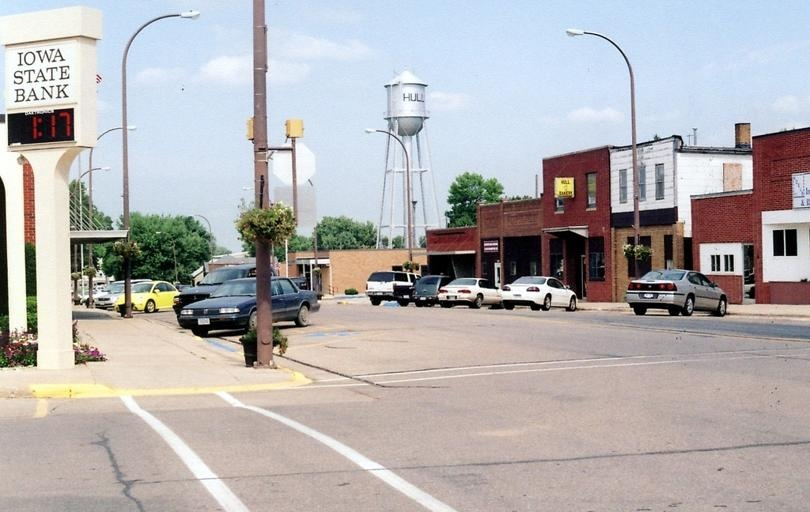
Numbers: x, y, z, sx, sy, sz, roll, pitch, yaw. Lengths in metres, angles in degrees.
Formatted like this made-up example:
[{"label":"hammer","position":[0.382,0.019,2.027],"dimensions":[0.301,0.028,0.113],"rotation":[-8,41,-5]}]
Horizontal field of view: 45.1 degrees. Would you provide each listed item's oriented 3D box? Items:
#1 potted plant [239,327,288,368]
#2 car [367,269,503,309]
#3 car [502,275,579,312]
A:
[{"label":"potted plant","position":[-3.421,2.207,23.633],"dimensions":[1.053,0.758,1.016],"rotation":[-2,-3,31]},{"label":"car","position":[2.134,1.836,50.099],"dimensions":[8.328,2.234,3.160],"rotation":[1,-1,1]},{"label":"car","position":[5.970,1.738,42.937],"dimensions":[3.014,1.514,1.581],"rotation":[0,6,-8]}]
